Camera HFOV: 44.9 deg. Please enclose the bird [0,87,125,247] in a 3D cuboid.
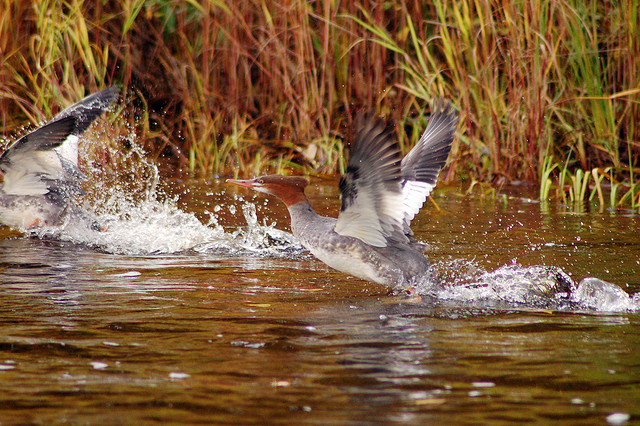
[{"bbox_3d":[-2.601,-0.443,7.872,1.274,0.934,1.420,22,-2,4],"label":"bird"}]
